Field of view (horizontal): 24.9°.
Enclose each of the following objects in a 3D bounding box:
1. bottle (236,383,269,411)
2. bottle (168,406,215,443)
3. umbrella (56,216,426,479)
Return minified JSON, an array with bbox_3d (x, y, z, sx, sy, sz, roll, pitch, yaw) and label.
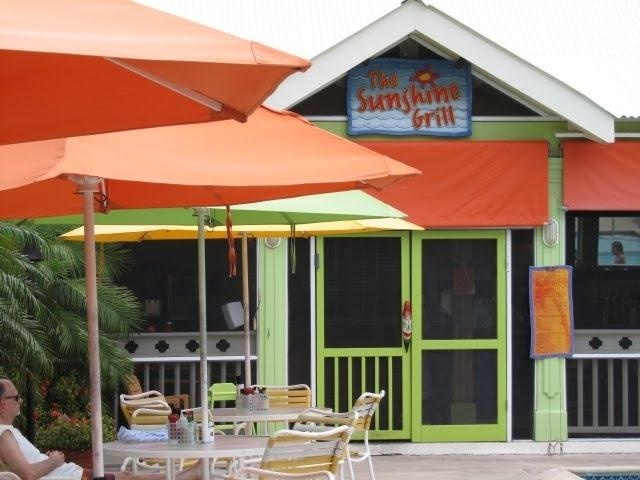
[{"bbox_3d":[-0.770,1.790,15.929,0.225,0.269,0.421,-5,-8,32],"label":"bottle"},{"bbox_3d":[-1.292,1.855,14.407,0.383,0.350,0.385,2,-5,-1],"label":"bottle"},{"bbox_3d":[-1.078,1.359,17.446,2.792,1.908,2.944,4,-7,-43],"label":"umbrella"}]
